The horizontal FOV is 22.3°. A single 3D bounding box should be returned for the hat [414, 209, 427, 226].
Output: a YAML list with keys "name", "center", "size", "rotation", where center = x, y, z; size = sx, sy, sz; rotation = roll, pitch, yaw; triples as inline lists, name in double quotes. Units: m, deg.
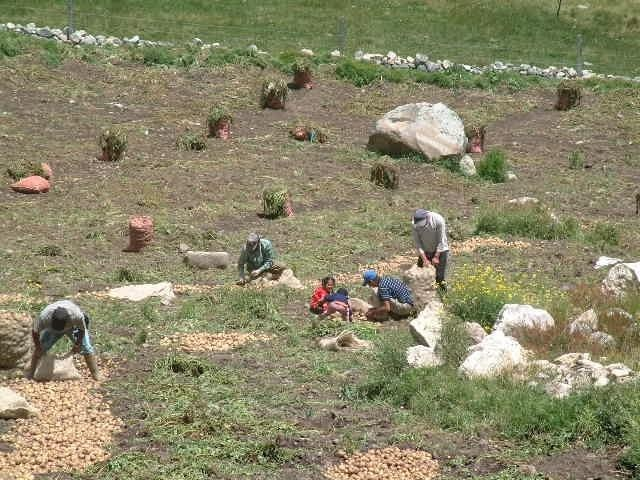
- name: "hat"
  center: [2.761, -0.645, 44.527]
  size: [0.369, 0.367, 0.354]
  rotation: [5, 20, 4]

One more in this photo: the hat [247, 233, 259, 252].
- name: "hat"
  center: [-1.858, 0.020, 45.329]
  size: [0.360, 0.489, 0.314]
  rotation: [3, 20, -3]

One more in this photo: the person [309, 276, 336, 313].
- name: "person"
  center: [0.222, 1.329, 44.613]
  size: [0.629, 0.368, 0.888]
  rotation: [-18, 36, -4]

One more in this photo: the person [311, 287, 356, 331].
- name: "person"
  center: [0.428, 1.728, 44.195]
  size: [0.997, 0.756, 0.691]
  rotation: [3, 20, -2]

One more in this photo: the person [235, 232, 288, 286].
- name: "person"
  center: [-1.661, 0.423, 45.645]
  size: [1.377, 1.494, 1.080]
  rotation: [-3, 24, 6]

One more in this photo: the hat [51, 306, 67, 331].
- name: "hat"
  center: [-6.643, 1.972, 41.633]
  size: [0.442, 0.553, 0.229]
  rotation: [1, 21, -9]
